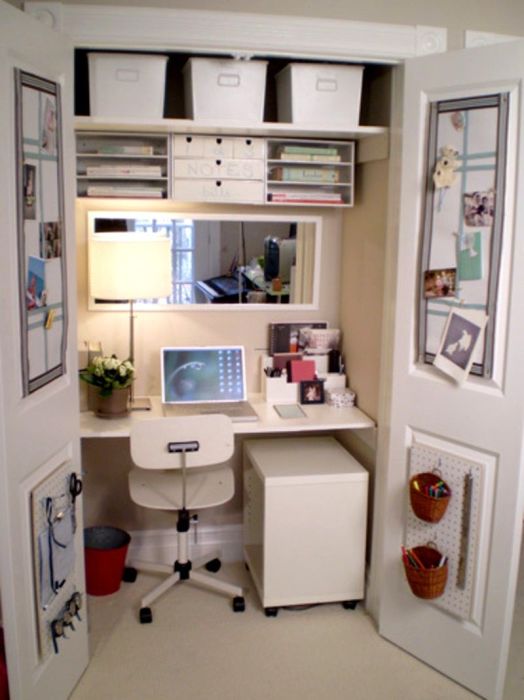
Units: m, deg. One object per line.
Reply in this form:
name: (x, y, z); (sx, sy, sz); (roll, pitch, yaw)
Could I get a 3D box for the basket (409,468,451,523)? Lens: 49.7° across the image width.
basket: (0.572, 0.496, 1.990); (0.129, 0.183, 0.168); (3, 2, 14)

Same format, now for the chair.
chair: (-0.344, 0.752, 2.492); (0.573, 1.052, 0.681); (-2, 16, -14)

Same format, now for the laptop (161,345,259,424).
laptop: (-0.265, 0.139, 2.664); (0.376, 0.284, 0.325); (-2, 8, -12)

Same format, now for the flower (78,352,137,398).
flower: (-0.676, 0.104, 2.468); (0.167, 0.143, 0.180); (2, 4, -13)

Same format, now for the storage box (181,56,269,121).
storage box: (-0.136, -0.956, 2.158); (0.246, 0.177, 0.273); (-1, 26, -7)

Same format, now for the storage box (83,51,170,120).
storage box: (-0.496, -0.978, 2.093); (0.277, 0.215, 0.095); (-1, 7, -15)

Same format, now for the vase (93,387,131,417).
vase: (-0.657, 0.237, 2.492); (0.129, 0.119, 0.139); (4, 7, 24)

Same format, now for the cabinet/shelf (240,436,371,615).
cabinet/shelf: (0.144, 0.711, 2.743); (0.540, 0.823, 0.680); (-1, 8, -7)

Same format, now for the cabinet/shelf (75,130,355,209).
cabinet/shelf: (-0.164, -0.776, 2.415); (1.217, 0.297, 0.167); (0, 7, -12)

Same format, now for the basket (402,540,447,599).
basket: (0.561, 0.766, 2.026); (0.147, 0.201, 0.189); (-1, -2, 7)

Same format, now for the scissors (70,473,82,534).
scissors: (-0.616, 0.501, 1.880); (0.034, 0.218, 0.140); (-1, 7, -15)

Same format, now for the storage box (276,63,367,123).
storage box: (0.237, -1.004, 2.216); (0.249, 0.176, 0.272); (0, 21, -1)

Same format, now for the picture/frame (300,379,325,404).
picture/frame: (0.238, 0.201, 2.717); (0.104, 0.124, 0.012); (0, 0, -10)

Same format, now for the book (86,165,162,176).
book: (-0.558, -0.727, 2.298); (0.289, 0.054, 0.035); (-1, 7, -14)

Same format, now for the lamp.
lamp: (-0.573, -0.131, 2.518); (0.377, 0.779, 0.308); (-1, 7, -19)

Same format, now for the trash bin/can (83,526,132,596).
trash bin/can: (-0.714, 0.944, 2.623); (0.215, 0.228, 0.250); (3, 3, 15)
